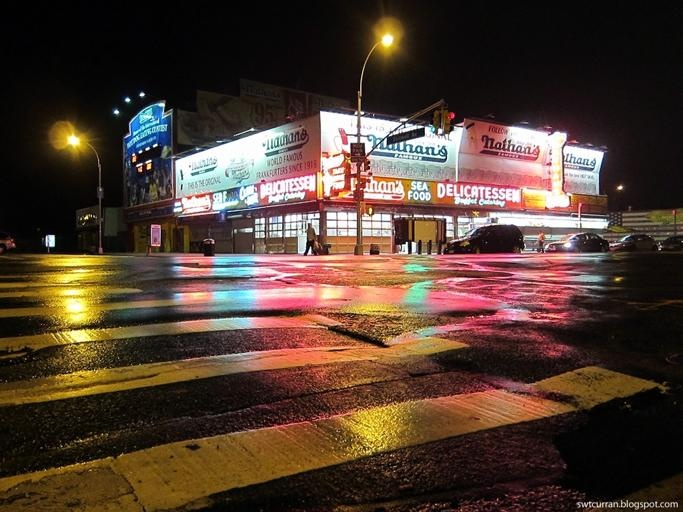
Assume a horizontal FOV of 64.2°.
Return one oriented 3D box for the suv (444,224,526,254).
[{"bbox_3d":[8.608,-0.933,32.757,3.710,1.755,2.036,3,-5,-20],"label":"suv"}]
